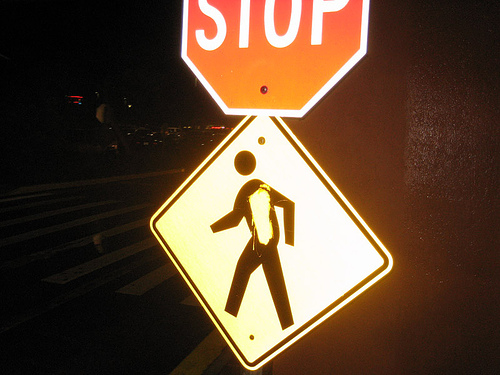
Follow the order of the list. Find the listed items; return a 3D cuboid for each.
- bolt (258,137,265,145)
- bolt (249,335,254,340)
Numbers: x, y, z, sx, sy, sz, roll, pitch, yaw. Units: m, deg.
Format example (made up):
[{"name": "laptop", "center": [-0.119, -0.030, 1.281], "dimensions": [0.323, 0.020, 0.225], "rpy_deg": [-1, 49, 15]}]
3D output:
[{"name": "bolt", "center": [0.065, -0.267, 2.526], "dimensions": [0.037, 0.048, 0.010], "rpy_deg": [-4, 0, 12]}, {"name": "bolt", "center": [0.010, 0.860, 2.546], "dimensions": [0.022, 0.029, 0.006], "rpy_deg": [0, -3, 2]}]
